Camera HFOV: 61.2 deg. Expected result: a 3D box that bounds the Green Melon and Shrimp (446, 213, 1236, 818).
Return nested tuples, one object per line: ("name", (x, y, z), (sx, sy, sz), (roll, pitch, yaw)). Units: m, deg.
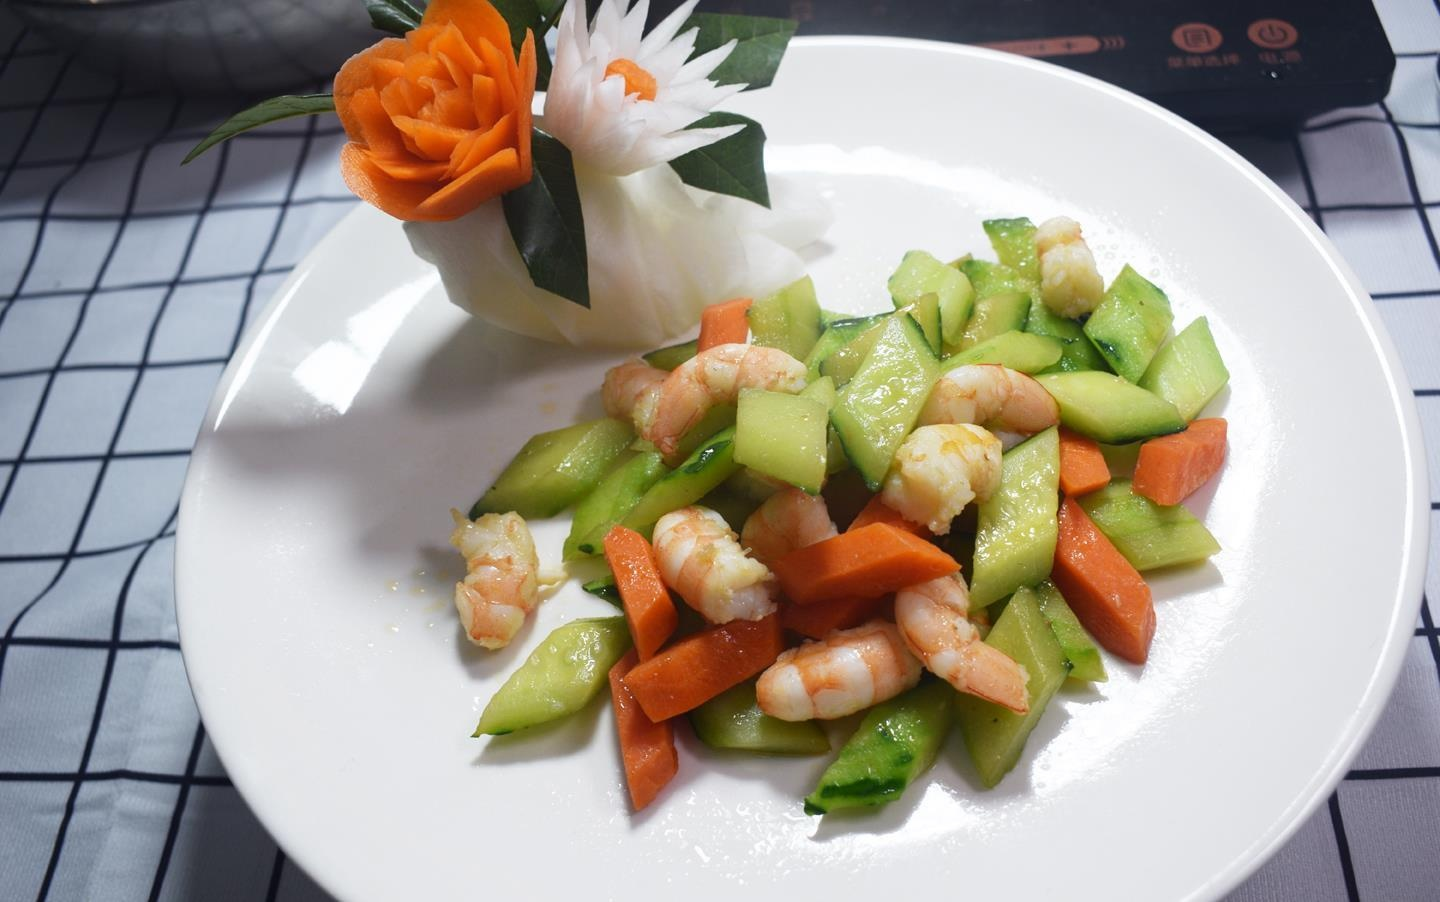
("Green Melon and Shrimp", (0.196, 0.094, 1.704), (1.203, 0.225, 0.798), (-27, 76, -6))
